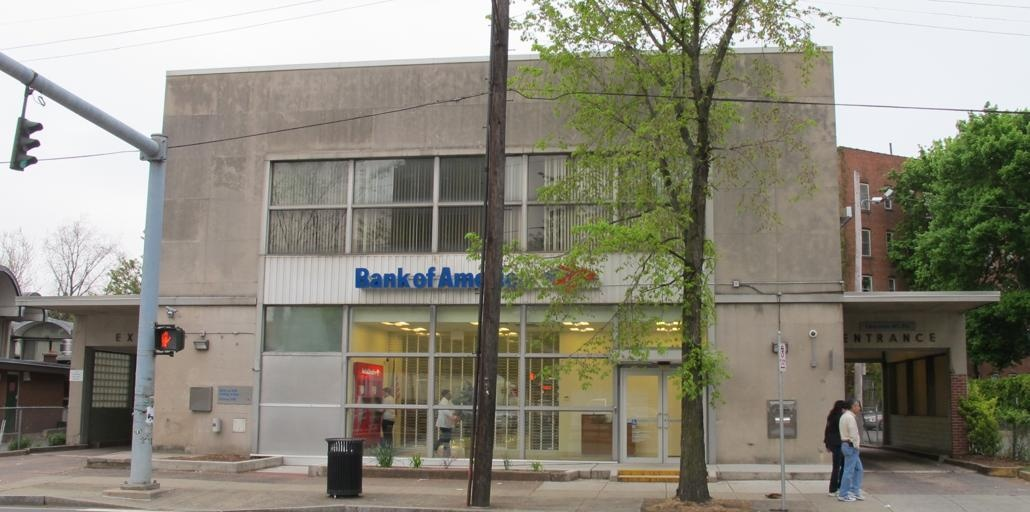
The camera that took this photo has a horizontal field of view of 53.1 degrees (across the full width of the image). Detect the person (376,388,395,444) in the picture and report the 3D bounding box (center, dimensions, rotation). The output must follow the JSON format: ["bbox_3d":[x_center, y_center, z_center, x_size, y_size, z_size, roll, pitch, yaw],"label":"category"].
[{"bbox_3d":[-6.385,8.075,51.994,0.711,2.841,0.420,1,-11,-6],"label":"person"}]

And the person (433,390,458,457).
[{"bbox_3d":[-3.468,8.355,51.692,1.004,3.368,0.473,0,-11,-4],"label":"person"}]

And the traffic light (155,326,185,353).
[{"bbox_3d":[-15.783,3.744,46.709,1.323,1.538,1.212,0,-3,1],"label":"traffic light"}]
